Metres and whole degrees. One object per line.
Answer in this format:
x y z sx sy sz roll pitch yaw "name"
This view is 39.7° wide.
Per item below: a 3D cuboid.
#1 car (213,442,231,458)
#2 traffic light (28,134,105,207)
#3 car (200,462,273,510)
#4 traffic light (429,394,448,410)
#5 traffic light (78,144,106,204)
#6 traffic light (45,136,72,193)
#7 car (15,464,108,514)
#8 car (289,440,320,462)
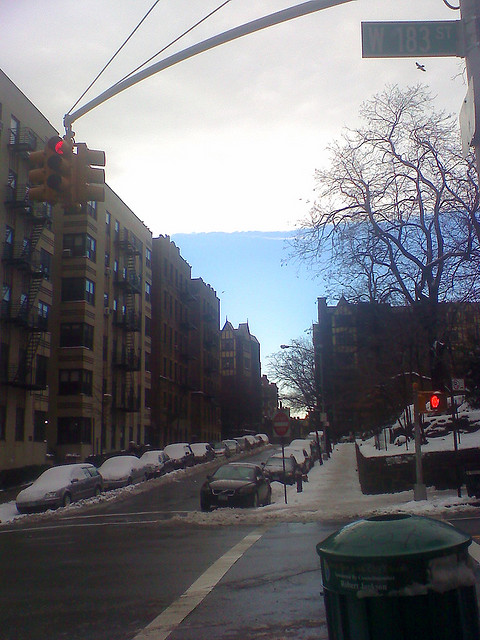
-1.316 9.578 48.874 1.106 1.016 3.135 -4 -10 -3 "car"
-1.981 -1.783 7.574 0.848 0.990 0.616 -1 -8 -16 "traffic light"
-0.143 4.944 19.669 1.625 1.271 2.481 -6 -10 13 "car"
5.020 2.061 17.012 0.385 0.424 0.099 1 0 -8 "traffic light"
-1.719 -1.706 7.662 0.299 0.857 0.556 -1 -9 -14 "traffic light"
-2.033 -1.804 7.535 0.342 0.707 0.299 2 -9 -33 "traffic light"
-5.920 5.502 21.901 1.116 1.054 3.023 -7 -14 11 "car"
4.226 8.075 42.391 1.324 1.377 2.493 0 -3 7 "car"
